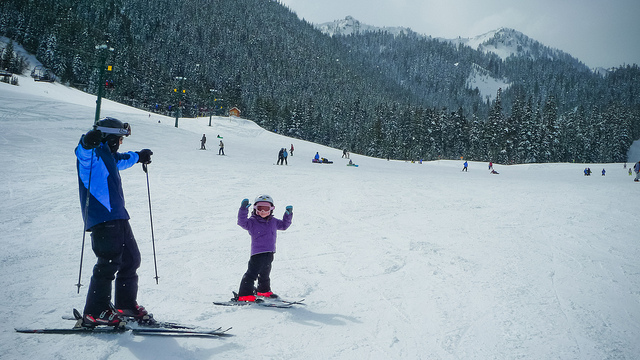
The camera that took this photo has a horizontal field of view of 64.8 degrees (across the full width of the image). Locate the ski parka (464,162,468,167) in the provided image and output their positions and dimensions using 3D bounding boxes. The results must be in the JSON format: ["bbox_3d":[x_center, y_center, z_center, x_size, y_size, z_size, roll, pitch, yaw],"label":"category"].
[{"bbox_3d":[26.829,-3.022,92.615,0.789,0.997,0.477,2,-3,-1],"label":"ski parka"}]

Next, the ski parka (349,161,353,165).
[{"bbox_3d":[5.581,-3.254,90.870,0.571,0.536,0.285,1,-16,-1],"label":"ski parka"}]

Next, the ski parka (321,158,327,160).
[{"bbox_3d":[0.749,-3.980,91.409,0.875,0.386,0.651,5,6,35],"label":"ski parka"}]

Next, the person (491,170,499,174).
[{"bbox_3d":[31.585,-1.582,91.011,1.243,0.543,2.159,8,5,13],"label":"person"}]
